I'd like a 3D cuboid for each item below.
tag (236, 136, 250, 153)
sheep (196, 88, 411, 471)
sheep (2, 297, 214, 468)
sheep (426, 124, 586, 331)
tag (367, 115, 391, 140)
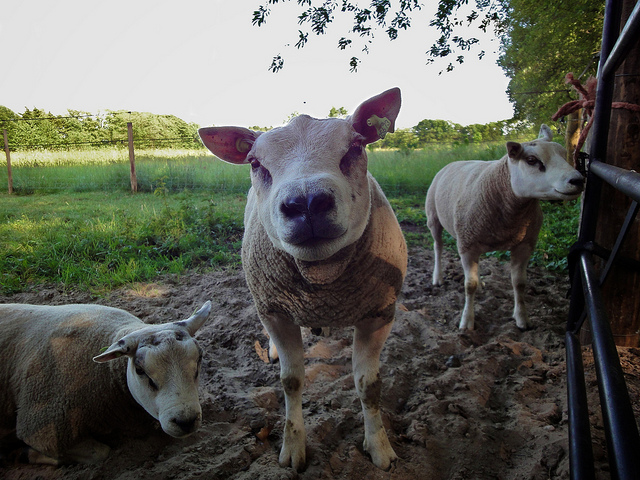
[{"bbox_3d":[-0.677,-0.824,4.404,0.095,0.115,0.037,11,42,23],"label":"tag"},{"bbox_3d":[-0.032,0.352,4.343,1.509,3.160,1.103,1,11,9],"label":"sheep"},{"bbox_3d":[-2.118,1.375,4.811,2.107,1.315,0.793,1,12,12],"label":"sheep"},{"bbox_3d":[2.307,-0.163,6.923,1.063,2.756,3.439,-2,10,-4],"label":"sheep"},{"bbox_3d":[0.488,-0.954,4.235,0.133,0.215,0.086,-19,15,-4],"label":"tag"}]
